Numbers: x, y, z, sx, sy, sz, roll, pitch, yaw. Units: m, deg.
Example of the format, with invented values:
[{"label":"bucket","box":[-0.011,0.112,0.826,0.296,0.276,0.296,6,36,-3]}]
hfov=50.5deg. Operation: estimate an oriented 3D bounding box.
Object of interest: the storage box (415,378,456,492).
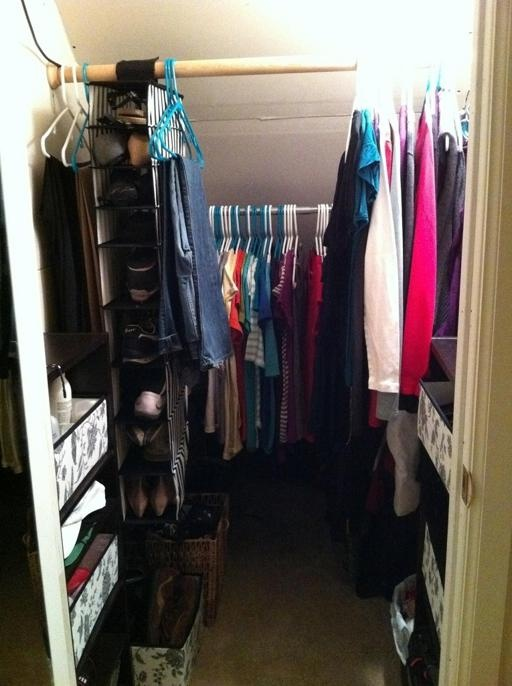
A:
[{"label":"storage box","box":[0.394,0.207,1.178,0.073,0.174,0.369,0,14,16]}]

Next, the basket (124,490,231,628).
[{"label":"basket","box":[-0.267,0.643,2.035,0.236,0.411,0.513,1,2,6]}]

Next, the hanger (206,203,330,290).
[{"label":"hanger","box":[0.048,-0.464,2.271,0.473,0.225,0.498,-5,13,-1]}]

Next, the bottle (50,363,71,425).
[{"label":"bottle","box":[-0.469,0.137,1.311,0.050,0.130,0.057,6,13,42]}]
